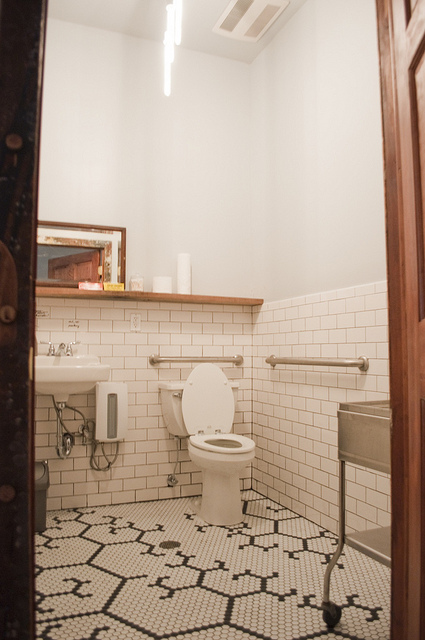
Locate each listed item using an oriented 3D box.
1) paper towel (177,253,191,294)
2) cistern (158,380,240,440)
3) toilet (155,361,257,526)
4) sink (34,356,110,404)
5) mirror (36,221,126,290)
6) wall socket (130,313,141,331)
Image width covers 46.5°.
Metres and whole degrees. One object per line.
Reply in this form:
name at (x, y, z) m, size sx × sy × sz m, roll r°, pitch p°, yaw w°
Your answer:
paper towel at (-0.187, -0.310, 3.284) m, size 0.083 × 0.267 × 0.083 m, roll 1°, pitch -4°, yaw -9°
cistern at (-0.099, 0.523, 3.170) m, size 0.413 × 0.370 × 0.352 m, roll 1°, pitch -5°, yaw -24°
toilet at (0.004, 0.718, 2.925) m, size 0.396 × 0.849 × 0.612 m, roll 1°, pitch 1°, yaw -29°
sink at (-0.793, 0.339, 2.766) m, size 0.374 × 0.278 × 0.496 m, roll 1°, pitch -4°, yaw -21°
mirror at (-0.825, -0.389, 3.014) m, size 0.451 × 0.537 × 0.039 m, roll 1°, pitch -3°, yaw -22°
wall socket at (-0.502, 0.010, 3.187) m, size 0.092 × 0.159 × 0.014 m, roll 1°, pitch -2°, yaw -30°
